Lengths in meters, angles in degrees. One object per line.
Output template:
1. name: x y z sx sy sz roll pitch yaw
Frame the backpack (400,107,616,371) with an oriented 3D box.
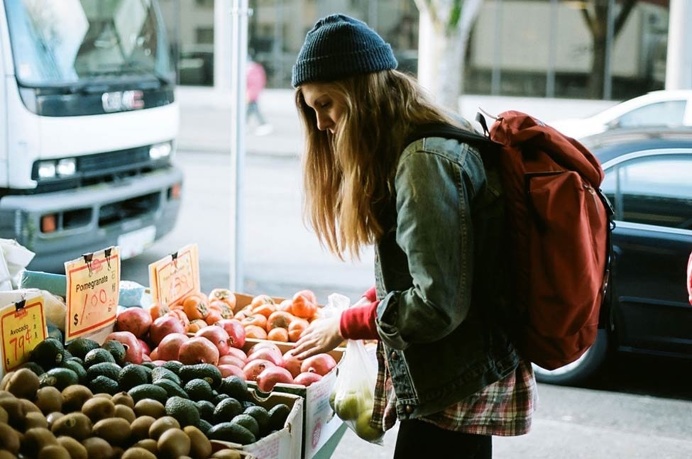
1. backpack: 0.880 0.046 3.297 0.688 1.153 0.383 5 8 22
